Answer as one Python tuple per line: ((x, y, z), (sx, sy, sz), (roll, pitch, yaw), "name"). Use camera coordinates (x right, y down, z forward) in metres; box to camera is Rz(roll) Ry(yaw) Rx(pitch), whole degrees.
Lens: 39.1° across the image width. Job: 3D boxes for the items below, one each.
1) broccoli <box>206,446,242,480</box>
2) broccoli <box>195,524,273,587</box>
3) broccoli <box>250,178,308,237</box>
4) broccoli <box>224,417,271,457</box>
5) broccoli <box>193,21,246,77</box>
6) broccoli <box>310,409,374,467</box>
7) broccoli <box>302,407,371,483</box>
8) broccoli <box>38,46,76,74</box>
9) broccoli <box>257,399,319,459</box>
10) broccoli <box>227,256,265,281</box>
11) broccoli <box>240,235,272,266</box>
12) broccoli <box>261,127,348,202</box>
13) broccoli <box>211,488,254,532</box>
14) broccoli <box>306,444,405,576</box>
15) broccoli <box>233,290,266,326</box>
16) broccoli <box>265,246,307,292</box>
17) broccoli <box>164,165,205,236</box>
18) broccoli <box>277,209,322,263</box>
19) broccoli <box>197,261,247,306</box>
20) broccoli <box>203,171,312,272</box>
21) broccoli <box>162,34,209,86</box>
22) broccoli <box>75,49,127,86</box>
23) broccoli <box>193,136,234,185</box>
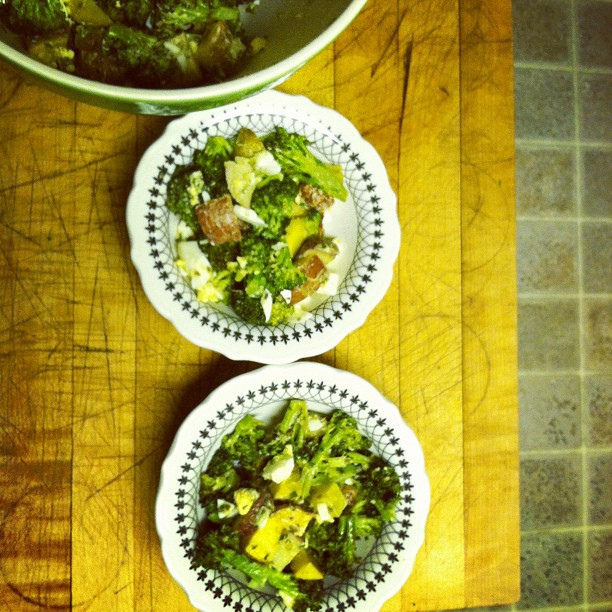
((-0.213, 0.404, 2.215), (0.072, 0.053, 0.082), (22, 88, 0), "broccoli")
((-0.183, 0.626, 2.231), (0.175, 0.105, 0.137), (33, 77, 2), "broccoli")
((-0.069, -0.246, 2.070), (0.128, 0.033, 0.128), (44, 85, -16), "broccoli")
((-0.156, 0.337, 2.222), (0.090, 0.025, 0.099), (16, 102, -21), "broccoli")
((-0.184, -0.506, 1.704), (0.140, 0.035, 0.127), (-7, 113, -39), "broccoli")
((0.097, 0.334, 2.240), (0.139, 0.065, 0.154), (-21, 108, -10), "broccoli")
((0.069, 0.343, 2.294), (0.142, 0.110, 0.213), (38, 100, -11), "broccoli")
((-0.469, -0.470, 1.629), (0.066, 0.030, 0.046), (9, 88, -1), "broccoli")
((-0.046, 0.329, 2.236), (0.148, 0.064, 0.161), (-27, 107, -25), "broccoli")
((-0.153, -0.094, 2.137), (0.066, 0.022, 0.069), (-43, 77, 16), "broccoli")
((-0.125, -0.137, 2.126), (0.063, 0.028, 0.072), (-9, 91, -2), "broccoli")
((-0.003, -0.363, 2.218), (0.209, 0.053, 0.143), (34, 79, -29), "broccoli")
((-0.192, 0.522, 2.204), (0.132, 0.107, 0.051), (14, 112, -43), "broccoli")
((0.129, 0.539, 2.245), (0.260, 0.099, 0.329), (6, 94, -21), "broccoli")
((-0.140, 0.010, 2.144), (0.065, 0.032, 0.085), (-5, 106, 26), "broccoli")
((-0.042, -0.083, 2.160), (0.046, 0.100, 0.104), (-20, 128, -13), "broccoli")
((-0.301, -0.271, 2.190), (0.101, 0.030, 0.159), (2, 91, 1), "broccoli")
((-0.014, -0.187, 2.165), (0.131, 0.026, 0.089), (-43, 111, -16), "broccoli")
((-0.214, -0.053, 2.166), (0.102, 0.042, 0.110), (27, 97, -24), "broccoli")
((-0.120, -0.181, 2.182), (0.176, 0.073, 0.292), (24, 95, 3), "broccoli")
((-0.237, -0.492, 1.704), (0.088, 0.027, 0.100), (-10, 96, -21), "broccoli")
((-0.393, -0.457, 1.643), (0.080, 0.025, 0.069), (16, 95, -13), "broccoli")
((-0.228, -0.365, 2.153), (0.106, 0.038, 0.098), (-22, 89, -2), "broccoli")
